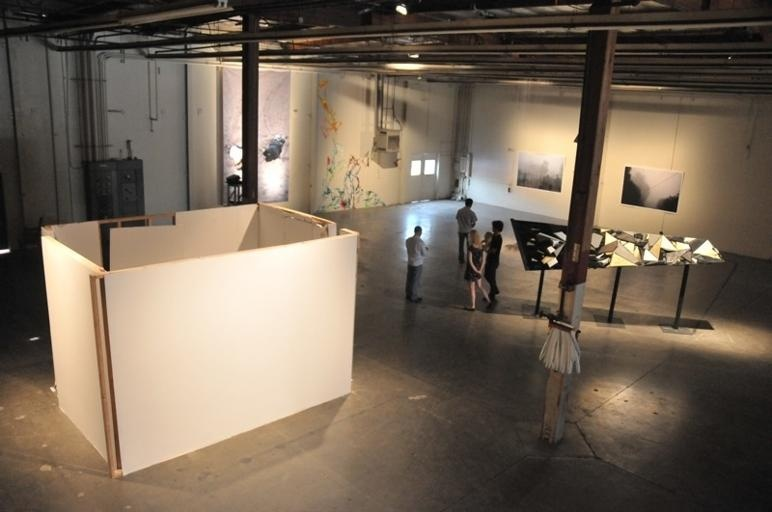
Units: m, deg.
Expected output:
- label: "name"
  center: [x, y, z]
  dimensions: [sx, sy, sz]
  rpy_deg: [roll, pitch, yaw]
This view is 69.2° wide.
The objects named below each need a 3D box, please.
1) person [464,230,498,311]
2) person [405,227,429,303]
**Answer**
- label: "person"
  center: [2.037, 0.190, 11.862]
  dimensions: [0.650, 1.664, 1.585]
  rpy_deg: [7, 13, 8]
- label: "person"
  center: [0.655, 0.065, 12.018]
  dimensions: [0.406, 1.607, 1.489]
  rpy_deg: [6, 13, 3]
